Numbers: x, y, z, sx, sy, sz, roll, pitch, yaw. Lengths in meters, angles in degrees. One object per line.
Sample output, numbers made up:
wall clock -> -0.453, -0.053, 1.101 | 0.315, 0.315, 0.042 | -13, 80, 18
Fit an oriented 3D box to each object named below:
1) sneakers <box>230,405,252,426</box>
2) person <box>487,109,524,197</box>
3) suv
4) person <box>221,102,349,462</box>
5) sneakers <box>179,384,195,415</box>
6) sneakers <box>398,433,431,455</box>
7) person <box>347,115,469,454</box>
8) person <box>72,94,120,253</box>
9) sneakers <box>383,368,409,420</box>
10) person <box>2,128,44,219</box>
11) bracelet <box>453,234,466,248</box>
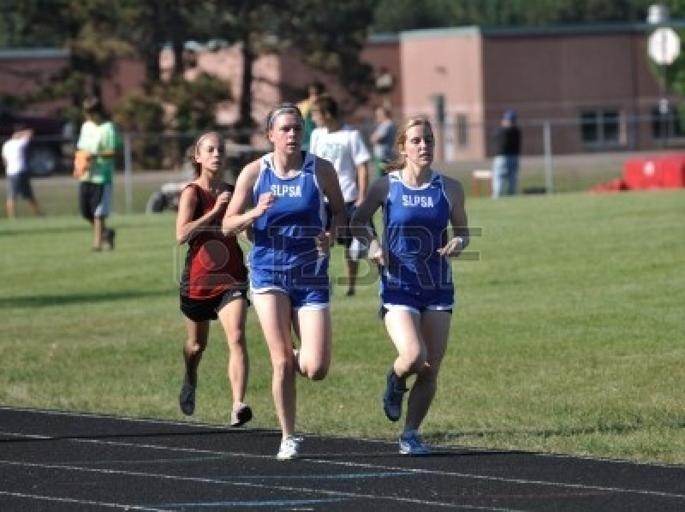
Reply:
sneakers -> -0.845, 1.337, 12.074 | 0.119, 0.096, 0.260 | -40, 2, -14
person -> 2.579, -1.624, 23.063 | 0.438, 1.335, 1.059 | -1, 5, 6
suv -> -2.367, -1.339, 25.237 | 2.189, 1.124, 1.268 | -8, 6, -13
person -> -0.431, 0.222, 11.579 | 0.927, 2.834, 0.467 | -2, 5, 1
sneakers -> -1.345, 1.240, 12.572 | 0.097, 0.301, 0.114 | -2, 6, -9
sneakers -> 0.573, 1.528, 11.808 | 0.272, 0.130, 0.127 | 2, 0, 9
person -> 0.562, 0.249, 11.657 | 0.904, 2.719, 0.534 | -2, 5, 5
person -> -2.864, -0.946, 17.033 | 0.495, 1.856, 1.524 | -3, 5, -8
sneakers -> 0.420, 1.140, 11.852 | 0.141, 0.450, 0.200 | -3, 9, -16
person -> -3.457, -0.887, 15.648 | 0.380, 0.929, 0.749 | -3, 5, -12
bracelet -> 0.941, -0.111, 11.578 | 0.071, 0.097, 0.096 | -2, 6, -34
